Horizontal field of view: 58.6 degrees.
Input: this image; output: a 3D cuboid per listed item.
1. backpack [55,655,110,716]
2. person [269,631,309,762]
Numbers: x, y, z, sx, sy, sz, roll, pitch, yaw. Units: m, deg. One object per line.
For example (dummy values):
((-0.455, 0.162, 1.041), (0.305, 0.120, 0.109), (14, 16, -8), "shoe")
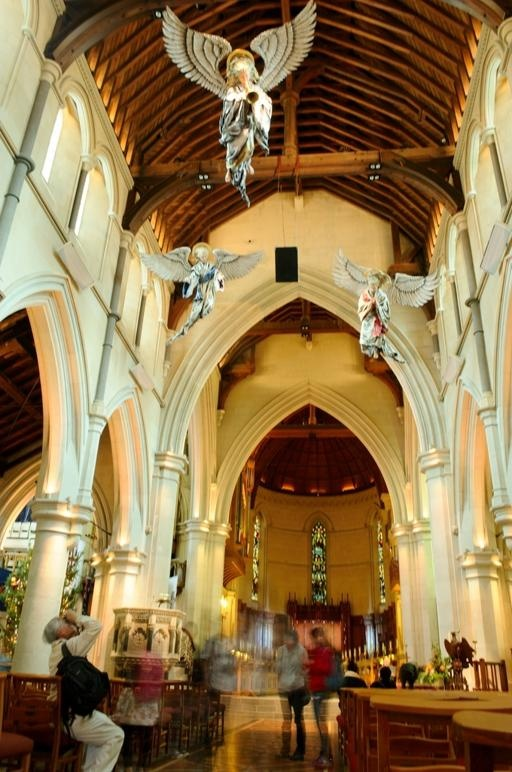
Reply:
((-1.153, 2.008, 2.960), (0.256, 0.465, 0.313), (-5, -25, -13), "backpack")
((0.380, 3.293, 4.921), (0.340, 1.188, 0.489), (-2, -23, 9), "person")
